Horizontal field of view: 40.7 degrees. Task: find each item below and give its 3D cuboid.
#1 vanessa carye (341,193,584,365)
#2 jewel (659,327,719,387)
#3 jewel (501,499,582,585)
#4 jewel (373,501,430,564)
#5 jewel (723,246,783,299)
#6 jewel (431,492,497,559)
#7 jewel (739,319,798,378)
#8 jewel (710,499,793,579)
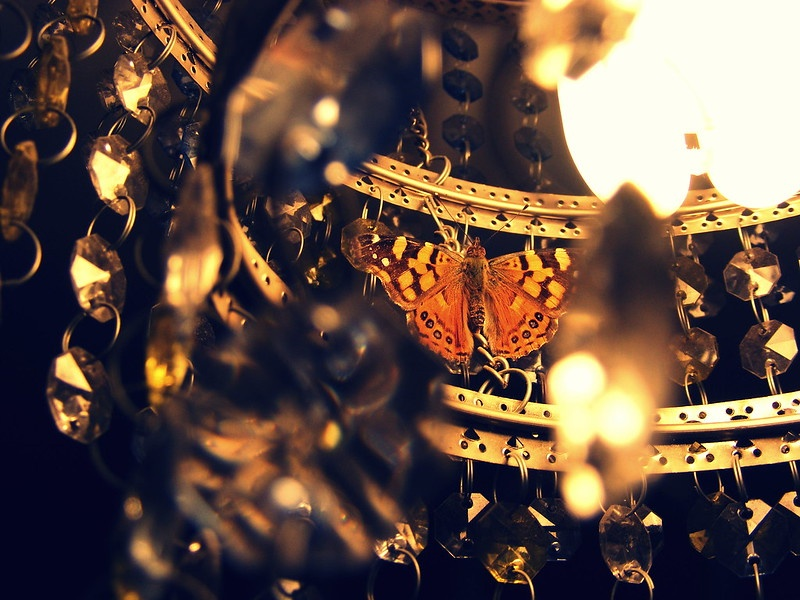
[{"bbox_3d":[0.137,-0.003,2.181,0.461,0.283,0.099,10,-13,-9],"label":"vanessa carye"},{"bbox_3d":[0.516,0.096,1.861,0.089,0.112,0.064,16,-19,-25],"label":"jewel"},{"bbox_3d":[0.244,0.398,1.787,0.107,0.134,0.060,19,-20,-32],"label":"jewel"},{"bbox_3d":[-0.002,0.374,1.736,0.080,0.086,0.032,37,-15,-34],"label":"jewel"},{"bbox_3d":[0.640,-0.047,1.941,0.093,0.106,0.024,-7,-3,16],"label":"jewel"},{"bbox_3d":[0.101,0.370,1.770,0.086,0.104,0.042,7,-17,3],"label":"jewel"},{"bbox_3d":[0.643,0.087,1.877,0.091,0.112,0.075,2,-18,19],"label":"jewel"},{"bbox_3d":[0.577,0.391,1.760,0.126,0.121,0.040,4,-17,12],"label":"jewel"}]
